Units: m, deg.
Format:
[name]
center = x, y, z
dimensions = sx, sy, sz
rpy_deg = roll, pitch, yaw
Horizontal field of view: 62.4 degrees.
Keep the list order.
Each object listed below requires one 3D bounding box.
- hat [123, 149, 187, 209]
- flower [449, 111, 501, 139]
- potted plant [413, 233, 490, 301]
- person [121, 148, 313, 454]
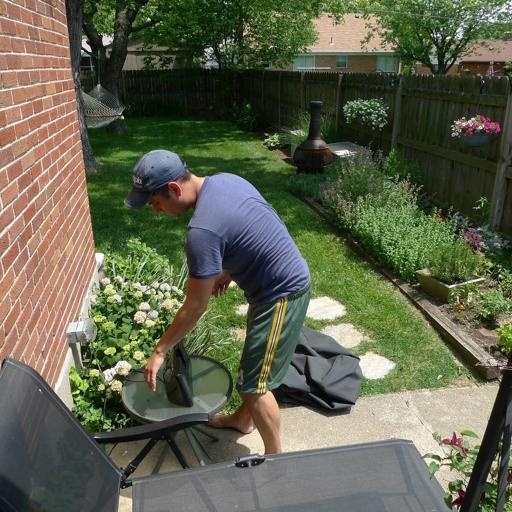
[hat]
center = -0.459, -0.337, 1.968
dimensions = 0.309, 0.178, 0.216
rpy_deg = -41, 44, -8
[flower]
center = 2.812, -1.629, 5.414
dimensions = 0.394, 0.199, 0.397
rpy_deg = 2, 2, 42
[potted plant]
center = 1.953, 0.149, 4.246
dimensions = 0.606, 0.539, 0.595
rpy_deg = 16, 25, 33
[person]
center = -0.278, 0.331, 2.210
dimensions = 0.866, 1.591, 1.037
rpy_deg = 8, 8, 43
